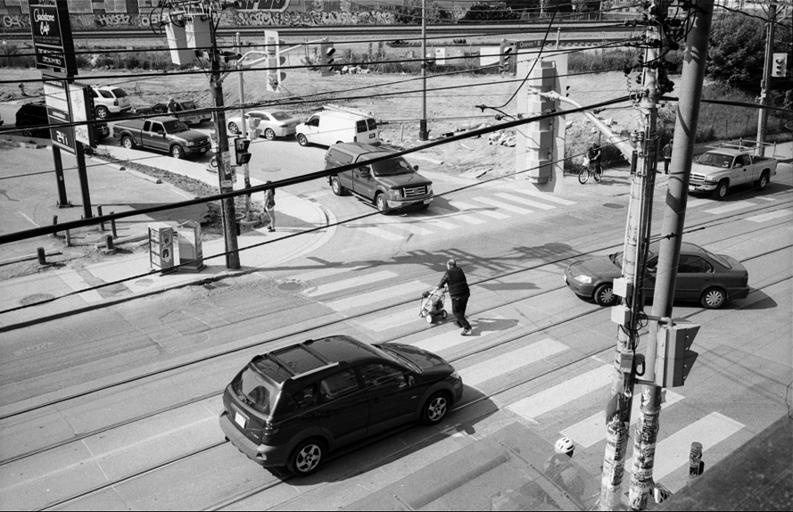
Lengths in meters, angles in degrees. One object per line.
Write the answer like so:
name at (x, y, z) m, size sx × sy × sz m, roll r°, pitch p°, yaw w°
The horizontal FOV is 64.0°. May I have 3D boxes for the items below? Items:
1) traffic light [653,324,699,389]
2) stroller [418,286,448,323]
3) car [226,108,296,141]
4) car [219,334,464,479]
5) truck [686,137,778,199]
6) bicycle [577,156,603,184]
traffic light at (5.366, 1.894, 12.361) m, size 0.769 × 1.242 × 0.671 m, roll -2°, pitch -5°, yaw -3°
stroller at (1.162, 1.563, 19.858) m, size 0.814 × 1.246 × 0.904 m, roll -9°, pitch 23°, yaw -28°
car at (-8.384, -8.251, 40.229) m, size 3.139 × 1.675 × 3.069 m, roll -22°, pitch 29°, yaw -40°
car at (-1.152, 3.081, 14.975) m, size 5.243 × 1.911 × 2.627 m, roll -17°, pitch 32°, yaw -28°
truck at (16.589, -4.234, 31.854) m, size 5.578 × 2.014 × 1.997 m, roll -15°, pitch 26°, yaw -30°
bicycle at (9.390, -4.323, 32.268) m, size 1.823 × 1.046 × 0.865 m, roll -8°, pitch 20°, yaw -24°
